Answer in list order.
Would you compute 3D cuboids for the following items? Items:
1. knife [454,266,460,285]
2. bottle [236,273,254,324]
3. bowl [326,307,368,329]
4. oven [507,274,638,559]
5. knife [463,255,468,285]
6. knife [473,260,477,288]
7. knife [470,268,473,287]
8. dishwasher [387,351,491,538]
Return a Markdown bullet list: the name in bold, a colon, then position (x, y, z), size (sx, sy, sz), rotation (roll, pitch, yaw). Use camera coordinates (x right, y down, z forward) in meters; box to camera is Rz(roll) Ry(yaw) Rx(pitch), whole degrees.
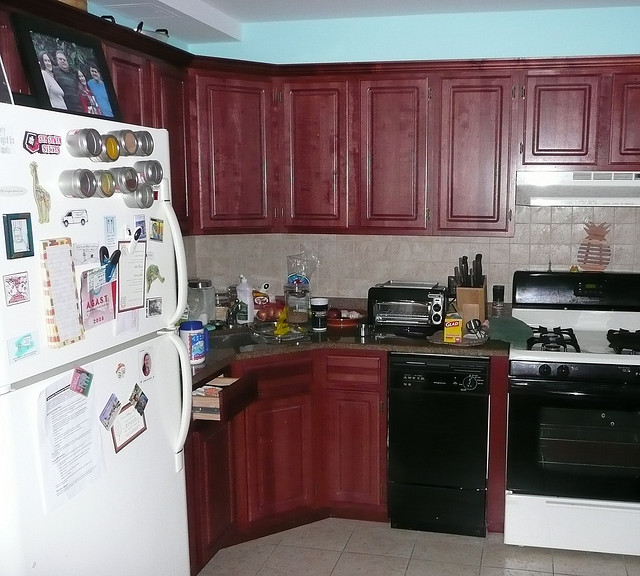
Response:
- **knife**: position (0.801, -0.069, 3.008), size (0.022, 0.102, 0.022), rotation (-2, 2, 8)
- **bottle**: position (-0.464, 0.069, 3.203), size (0.109, 0.278, 0.182), rotation (-2, 7, -8)
- **bowl**: position (0.184, 0.167, 3.299), size (0.213, 0.106, 0.436), rotation (0, 7, 12)
- **oven**: position (1.348, 0.634, 2.782), size (0.616, 1.365, 0.665), rotation (2, 7, 21)
- **knife**: position (0.837, -0.098, 2.957), size (0.018, 0.157, 0.051), rotation (4, 8, 35)
- **knife**: position (0.891, -0.082, 2.959), size (0.018, 0.142, 0.057), rotation (1, 7, 14)
- **knife**: position (0.887, -0.062, 3.037), size (0.015, 0.082, 0.202), rotation (1, 7, 16)
- **dishwasher**: position (0.626, 0.832, 2.756), size (0.524, 0.998, 0.045), rotation (0, 7, 12)
